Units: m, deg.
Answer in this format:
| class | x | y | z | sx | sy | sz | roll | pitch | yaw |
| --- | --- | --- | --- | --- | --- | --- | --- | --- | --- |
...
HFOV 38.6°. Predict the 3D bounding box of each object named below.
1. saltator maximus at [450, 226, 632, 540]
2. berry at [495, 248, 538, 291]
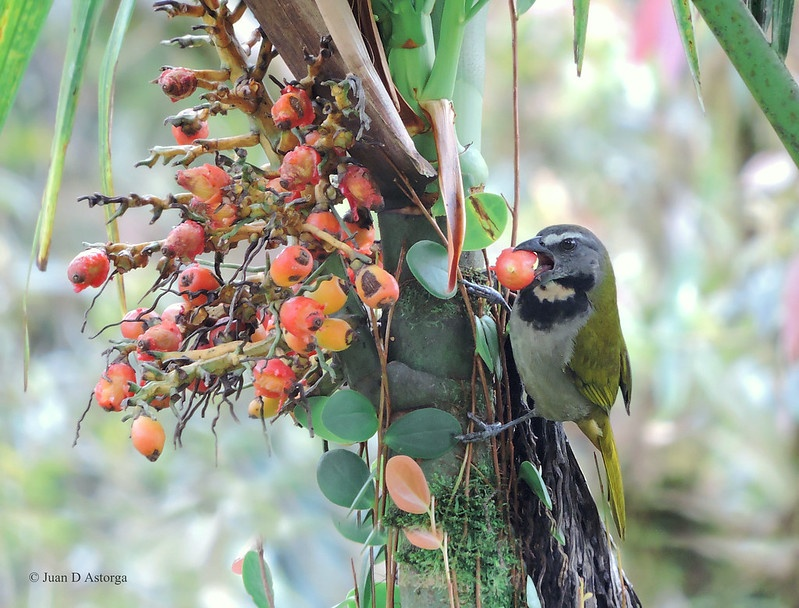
| class | x | y | z | sx | sy | sz | roll | pitch | yaw |
| --- | --- | --- | --- | --- | --- | --- | --- | --- | --- |
| saltator maximus | 0.434 | 0.202 | 2.914 | 0.250 | 0.581 | 0.636 | -10 | -6 | 22 |
| berry | 0.278 | -0.087 | 2.713 | 0.092 | 0.089 | 0.055 | -51 | -3 | -8 |
